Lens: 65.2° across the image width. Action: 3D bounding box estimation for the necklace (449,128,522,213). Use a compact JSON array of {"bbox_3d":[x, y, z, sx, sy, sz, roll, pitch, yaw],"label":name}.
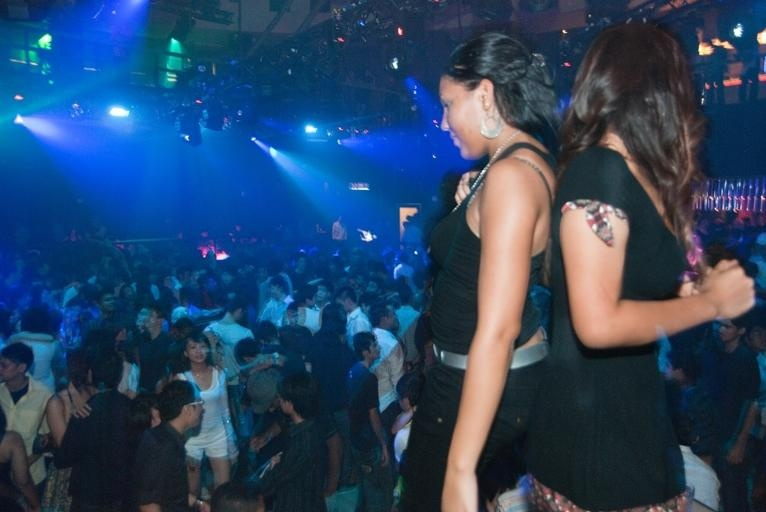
[{"bbox_3d":[0.594,-0.523,3.679,0.127,0.520,0.314,35,17,-1],"label":"necklace"}]
